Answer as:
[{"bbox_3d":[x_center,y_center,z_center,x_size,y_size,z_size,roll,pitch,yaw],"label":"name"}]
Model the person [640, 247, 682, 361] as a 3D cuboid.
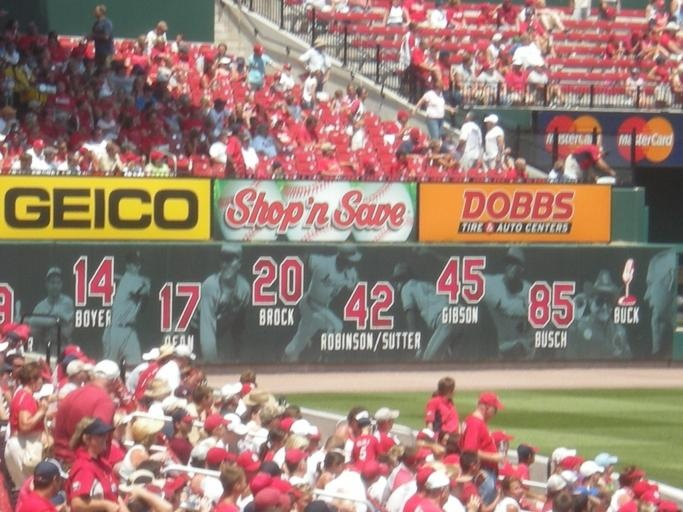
[{"bbox_3d":[8.266,1.221,42.630,0.658,2.757,0.962,-3,7,-12],"label":"person"}]
